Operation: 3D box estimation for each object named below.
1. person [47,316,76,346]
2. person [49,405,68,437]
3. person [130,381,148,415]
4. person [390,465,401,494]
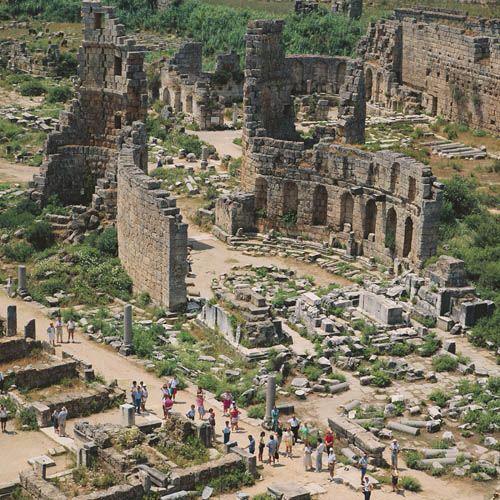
[{"bbox_3d":[-7.348,3.185,50.430,0.798,0.848,0.325,1,31,-4],"label":"person"},{"bbox_3d":[-6.485,5.748,44.036,0.515,0.875,0.933,0,8,-10],"label":"person"},{"bbox_3d":[-3.899,5.097,45.481,0.569,1.054,1.333,1,8,-5],"label":"person"},{"bbox_3d":[4.604,7.246,41.449,0.237,0.706,1.050,2,8,5],"label":"person"}]
